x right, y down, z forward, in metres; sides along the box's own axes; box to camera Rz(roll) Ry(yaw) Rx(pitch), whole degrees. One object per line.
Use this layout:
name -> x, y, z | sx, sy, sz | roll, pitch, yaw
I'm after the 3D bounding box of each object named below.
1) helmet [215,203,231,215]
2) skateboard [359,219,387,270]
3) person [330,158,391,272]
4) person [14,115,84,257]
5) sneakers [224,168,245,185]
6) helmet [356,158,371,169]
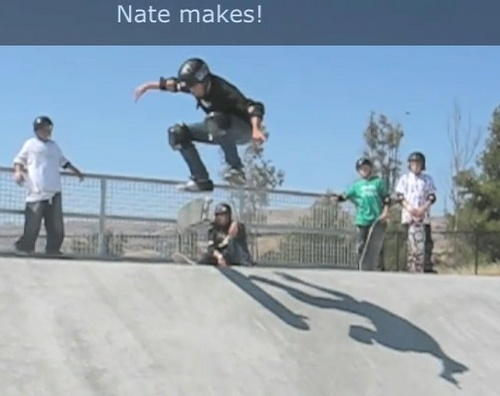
helmet -> -0.331, 0.114, 8.883 | 0.104, 0.099, 0.178 | -7, 8, -1
skateboard -> 1.594, 0.619, 10.069 | 0.143, 0.713, 0.346 | 21, 19, 40
person -> 1.540, 0.217, 10.009 | 0.653, 1.523, 0.467 | 0, 2, 19
person -> -2.848, -0.165, 10.100 | 0.633, 1.876, 0.256 | -1, 2, -18
sneakers -> -0.197, -0.272, 9.350 | 0.248, 0.277, 0.141 | 0, -6, -35
helmet -> 1.487, -0.463, 9.859 | 0.191, 0.168, 0.346 | 0, 2, 16
